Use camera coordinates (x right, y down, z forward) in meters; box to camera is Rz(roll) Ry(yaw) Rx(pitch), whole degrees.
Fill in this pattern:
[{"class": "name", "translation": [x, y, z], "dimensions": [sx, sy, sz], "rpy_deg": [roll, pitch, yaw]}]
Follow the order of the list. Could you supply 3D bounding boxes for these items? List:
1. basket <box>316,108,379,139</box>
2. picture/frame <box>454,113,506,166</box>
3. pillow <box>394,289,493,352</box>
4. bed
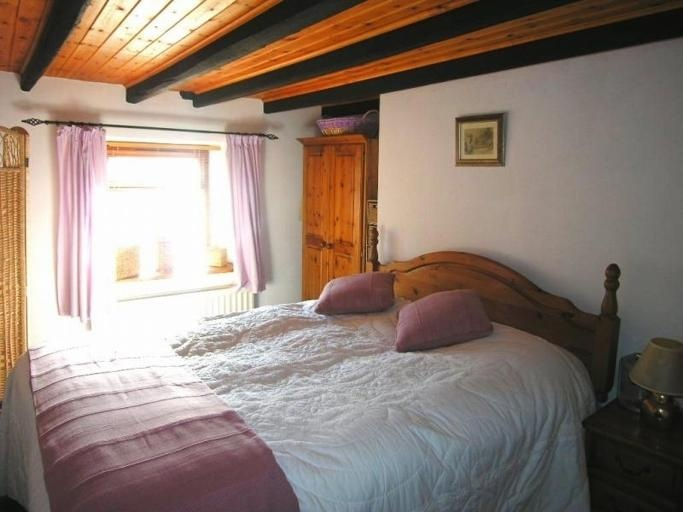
[{"class": "basket", "translation": [0.086, -1.258, 4.783], "dimensions": [0.226, 0.253, 0.739], "rpy_deg": [-8, 11, -42]}, {"class": "picture/frame", "translation": [1.006, -0.841, 3.552], "dimensions": [0.032, 0.385, 0.423], "rpy_deg": [-9, 12, -43]}, {"class": "pillow", "translation": [0.626, 0.410, 3.253], "dimensions": [0.617, 0.336, 0.336], "rpy_deg": [-1, 8, -9]}, {"class": "bed", "translation": [-0.161, 0.637, 2.938], "dimensions": [2.579, 0.983, 1.515], "rpy_deg": [-6, 15, -28]}]
